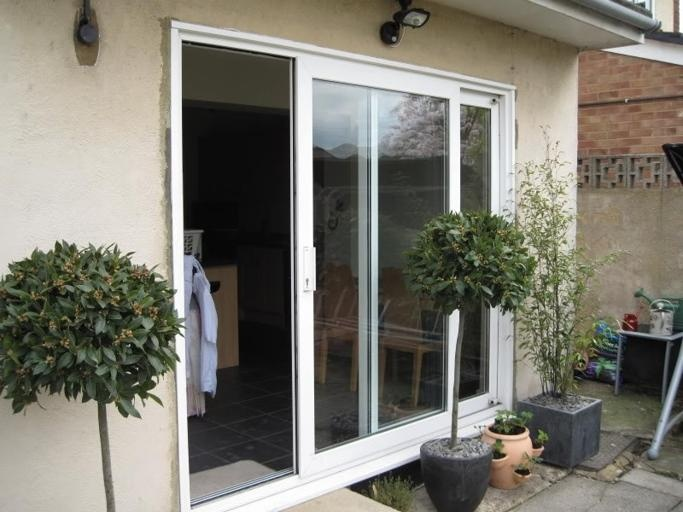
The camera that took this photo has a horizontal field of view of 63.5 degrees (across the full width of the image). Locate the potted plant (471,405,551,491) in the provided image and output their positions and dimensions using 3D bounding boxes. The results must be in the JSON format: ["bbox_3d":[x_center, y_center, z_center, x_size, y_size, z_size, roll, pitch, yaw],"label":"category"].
[{"bbox_3d":[1.265,1.379,3.981,0.373,0.428,0.609,5,8,44],"label":"potted plant"}]

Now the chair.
[{"bbox_3d":[0.178,0.538,3.744,0.981,0.723,0.376,3,1,22],"label":"chair"}]

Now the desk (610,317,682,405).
[{"bbox_3d":[3.193,1.093,5.816,0.609,0.763,0.752,-7,9,-44],"label":"desk"}]
